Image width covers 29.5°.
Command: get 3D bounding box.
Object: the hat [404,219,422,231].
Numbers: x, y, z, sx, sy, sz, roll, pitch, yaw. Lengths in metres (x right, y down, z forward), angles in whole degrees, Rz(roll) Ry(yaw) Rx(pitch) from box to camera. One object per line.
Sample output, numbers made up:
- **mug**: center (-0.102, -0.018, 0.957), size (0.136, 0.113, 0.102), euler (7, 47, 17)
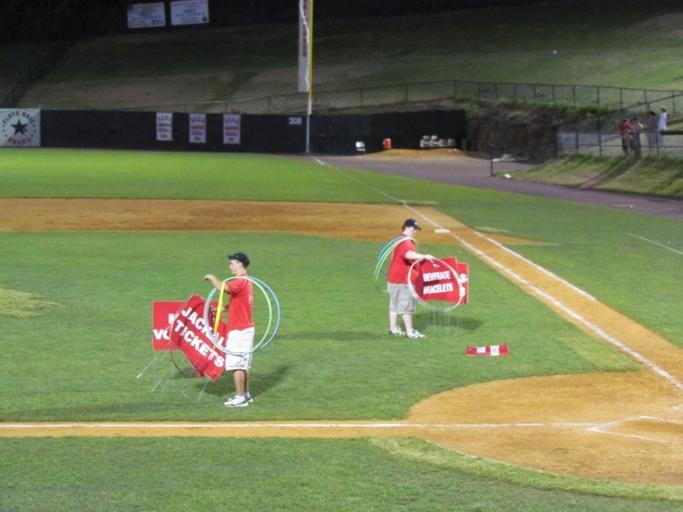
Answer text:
- **hat**: center (2.437, -1.119, 45.888), size (0.519, 0.354, 0.430), euler (-1, 4, 2)
